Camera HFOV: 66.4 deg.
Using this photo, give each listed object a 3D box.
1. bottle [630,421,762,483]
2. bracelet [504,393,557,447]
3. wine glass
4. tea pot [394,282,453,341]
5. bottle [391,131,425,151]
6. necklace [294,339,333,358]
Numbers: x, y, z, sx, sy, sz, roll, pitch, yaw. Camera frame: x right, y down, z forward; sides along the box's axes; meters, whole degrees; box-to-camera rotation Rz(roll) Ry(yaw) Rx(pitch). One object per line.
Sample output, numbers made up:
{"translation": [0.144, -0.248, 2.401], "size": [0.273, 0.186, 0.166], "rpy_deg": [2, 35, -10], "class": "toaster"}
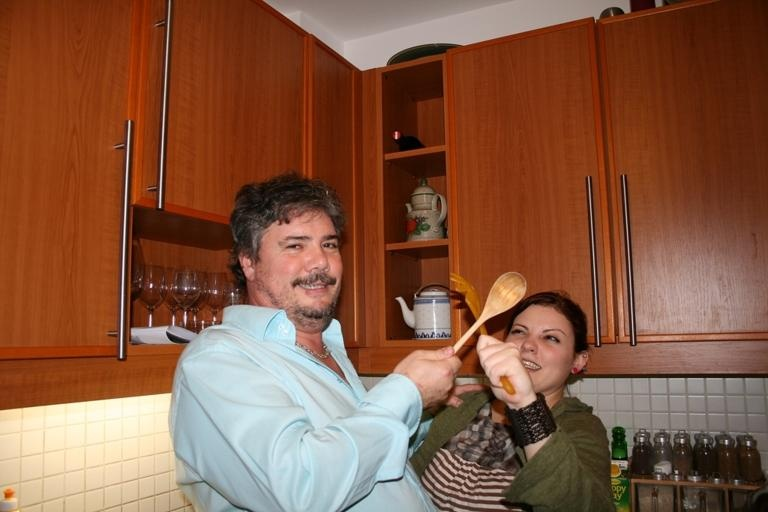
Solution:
{"translation": [1.171, 0.753, 2.201], "size": [0.461, 0.163, 0.187], "rpy_deg": [-5, -7, 20], "class": "bottle"}
{"translation": [0.385, 0.433, 1.567], "size": [0.124, 0.110, 0.134], "rpy_deg": [-19, -2, 9], "class": "bracelet"}
{"translation": [-0.624, 0.130, 1.840], "size": [0.224, 0.194, 0.082], "rpy_deg": [2, -3, -28], "class": "wine glass"}
{"translation": [0.163, 0.235, 2.333], "size": [0.286, 0.229, 0.180], "rpy_deg": [0, -15, 5], "class": "tea pot"}
{"translation": [0.100, -0.477, 2.438], "size": [0.065, 0.071, 0.146], "rpy_deg": [6, 3, 33], "class": "bottle"}
{"translation": [-0.208, 0.271, 1.697], "size": [0.078, 0.017, 0.096], "rpy_deg": [5, 3, -6], "class": "necklace"}
